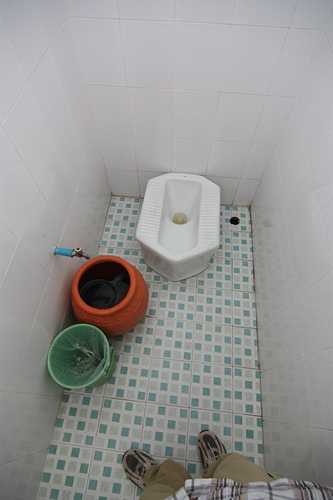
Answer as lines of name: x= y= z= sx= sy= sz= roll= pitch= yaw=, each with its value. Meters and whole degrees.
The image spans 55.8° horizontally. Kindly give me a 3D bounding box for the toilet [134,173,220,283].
toilet: x=0.079 y=-0.129 z=1.829 sx=0.406 sy=0.318 sz=0.580 roll=0 pitch=61 yaw=0
